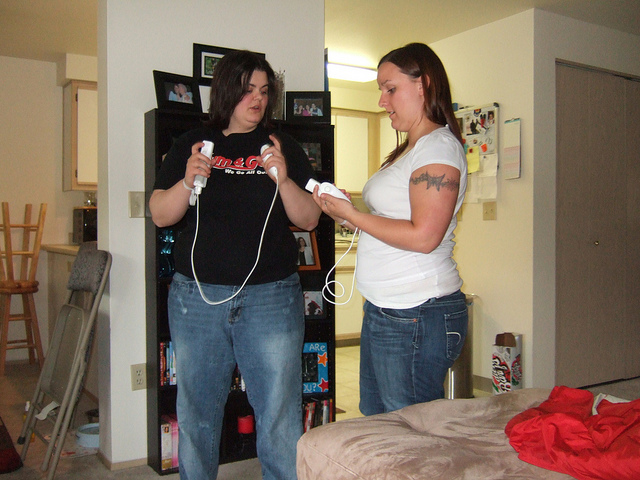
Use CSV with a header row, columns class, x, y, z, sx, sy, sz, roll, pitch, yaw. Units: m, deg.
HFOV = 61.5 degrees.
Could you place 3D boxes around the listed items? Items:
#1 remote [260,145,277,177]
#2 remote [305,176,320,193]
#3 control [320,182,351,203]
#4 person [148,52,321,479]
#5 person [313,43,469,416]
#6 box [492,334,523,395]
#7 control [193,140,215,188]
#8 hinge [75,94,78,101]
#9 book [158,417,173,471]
class,x,y,z,sx,sy,sz,roll,pitch,yaw
remote,-0.207,-0.333,2.139,0.042,0.157,0.039,-14,-21,-4
remote,-0.025,-0.210,2.156,0.040,0.058,0.060,27,20,-29
control,0.048,-0.184,2.049,0.146,0.044,0.035,34,-8,-3
person,-0.326,0.139,2.247,0.695,1.783,0.445,-5,14,-19
person,0.290,0.003,2.013,0.539,1.441,0.459,4,14,18
box,1.444,0.968,4.098,0.254,0.430,0.277,1,14,6
control,-0.448,-0.301,2.104,0.054,0.201,0.052,14,-12,-19
hinge,-2.402,-1.414,5.303,0.013,0.060,0.018,-4,14,-15
book,-0.865,1.156,3.001,0.089,0.288,0.289,-3,1,-17
